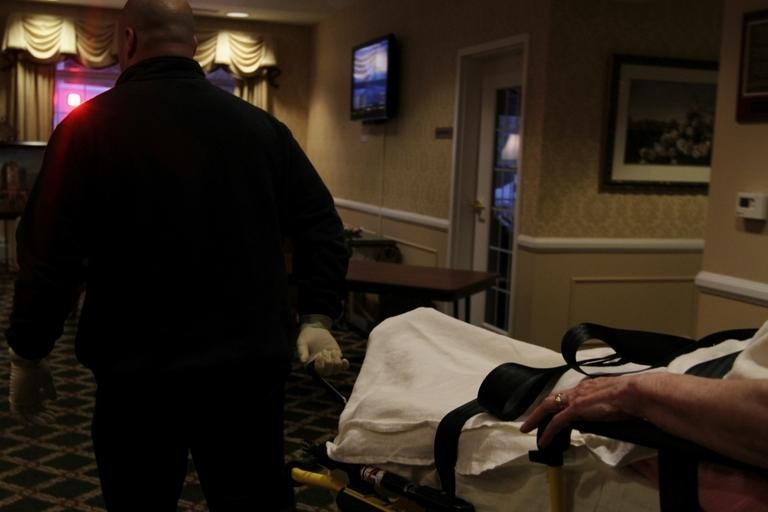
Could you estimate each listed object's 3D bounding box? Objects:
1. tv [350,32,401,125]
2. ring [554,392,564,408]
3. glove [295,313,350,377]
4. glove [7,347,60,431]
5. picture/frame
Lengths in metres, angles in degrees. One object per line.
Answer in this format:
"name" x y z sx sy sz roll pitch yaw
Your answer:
"tv" -0.075 -1.849 6.899 0.161 1.076 1.155 2 -2 -29
"ring" 0.484 0.400 1.818 0.031 0.028 0.013 36 -12 -14
"glove" -0.204 0.287 2.054 0.161 0.185 0.075 -4 -30 -26
"glove" -1.100 0.410 2.088 0.166 0.271 0.077 3 4 -14
"picture/frame" 2.161 -0.954 4.950 1.012 0.961 0.078 0 7 -13
